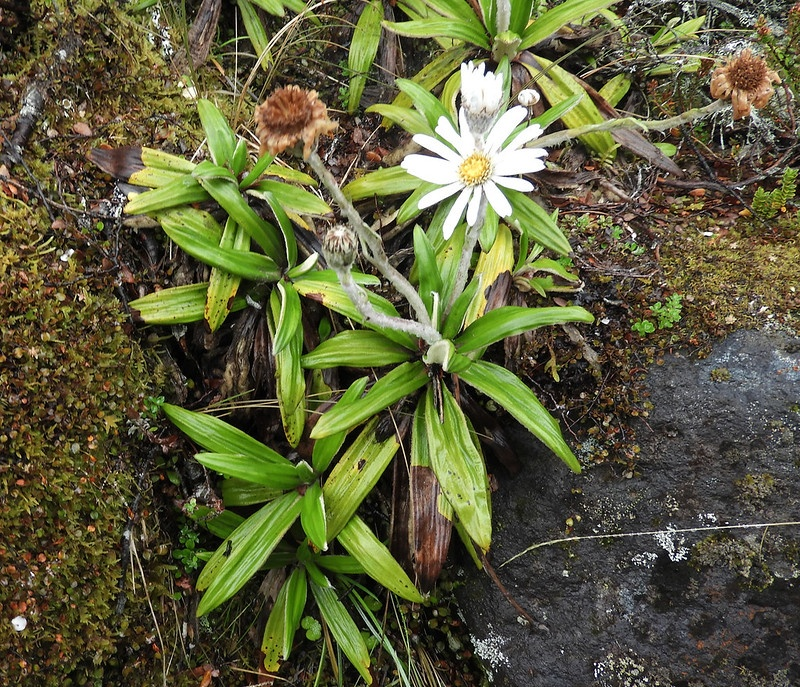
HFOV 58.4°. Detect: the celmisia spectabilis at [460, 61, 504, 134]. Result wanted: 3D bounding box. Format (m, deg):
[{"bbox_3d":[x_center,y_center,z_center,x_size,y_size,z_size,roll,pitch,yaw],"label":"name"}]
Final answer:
[{"bbox_3d":[0.323,-0.977,2.872,0.175,0.258,0.284,8,58,5],"label":"celmisia spectabilis"}]
